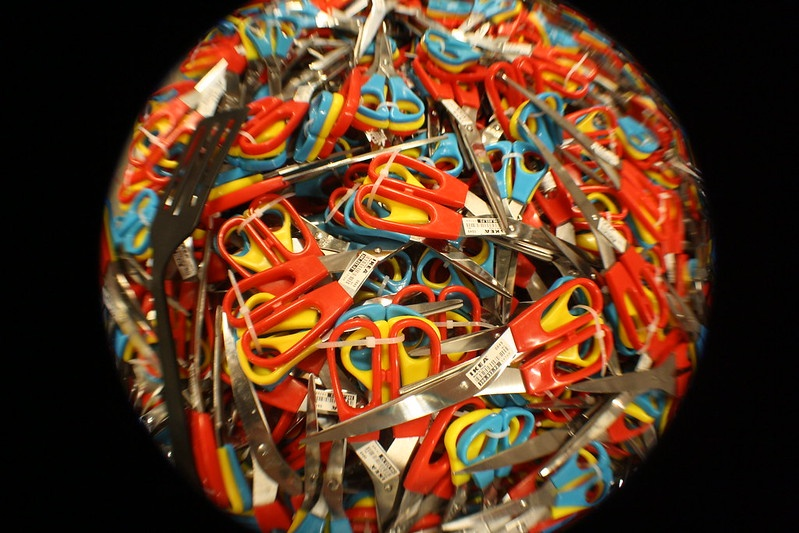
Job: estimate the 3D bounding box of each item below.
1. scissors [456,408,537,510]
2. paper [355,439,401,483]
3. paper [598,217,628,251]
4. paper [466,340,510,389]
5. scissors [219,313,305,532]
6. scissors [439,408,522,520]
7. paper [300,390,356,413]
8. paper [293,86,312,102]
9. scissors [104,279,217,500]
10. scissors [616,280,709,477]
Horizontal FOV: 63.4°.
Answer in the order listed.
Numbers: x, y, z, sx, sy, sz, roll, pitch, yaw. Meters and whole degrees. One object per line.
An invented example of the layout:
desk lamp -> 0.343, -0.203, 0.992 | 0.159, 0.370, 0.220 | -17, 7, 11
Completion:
scissors -> 0.305, 0.616, 2.065 | 0.206, 0.315, 0.065 | -24, 20, -30
paper -> -0.064, 0.599, 2.039 | 0.148, 0.140, 0.033 | -31, 10, 49
paper -> 0.729, -0.111, 2.200 | 0.054, 0.081, 0.120 | -33, 49, -31
paper -> 0.297, 0.310, 2.066 | 0.172, 0.096, 0.035 | -41, 6, -13
scissors -> -0.454, 0.522, 2.110 | 0.147, 0.790, 0.081 | -18, -2, -5
scissors -> 0.312, 0.616, 2.103 | 0.306, 0.409, 0.070 | -5, 24, -14
paper -> -0.230, 0.430, 2.059 | 0.145, 0.087, 0.056 | -1, -8, 4
paper -> -0.339, -0.608, 2.277 | 0.064, 0.072, 0.050 | -1, 0, 33
scissors -> -0.727, 0.336, 2.050 | 0.074, 0.751, 0.083 | -20, -6, 18
scissors -> 0.894, 0.337, 2.156 | 0.161, 0.340, 0.564 | 18, 53, 16
